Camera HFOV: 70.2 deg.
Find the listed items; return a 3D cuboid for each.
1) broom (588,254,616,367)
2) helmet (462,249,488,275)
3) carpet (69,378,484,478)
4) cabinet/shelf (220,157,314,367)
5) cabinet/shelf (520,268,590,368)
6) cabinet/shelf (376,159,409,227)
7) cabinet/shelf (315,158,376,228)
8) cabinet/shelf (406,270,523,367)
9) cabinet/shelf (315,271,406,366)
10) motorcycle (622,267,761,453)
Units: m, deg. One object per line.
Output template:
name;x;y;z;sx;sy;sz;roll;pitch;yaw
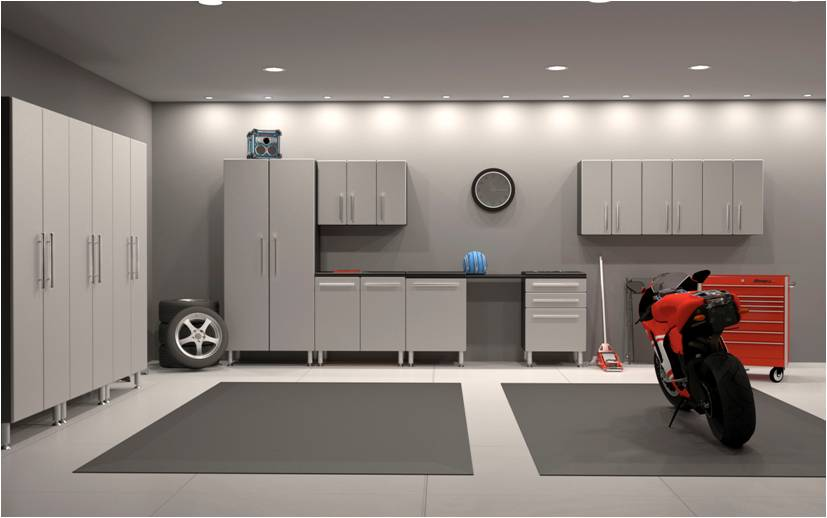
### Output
broom;2.805;0.764;8.427;0.394;1.497;0.854;3;12;17
helmet;0.887;0.047;8.572;0.372;0.329;0.332;1;-6;-1
carpet;-1.113;1.732;6.337;3.399;0.122;2.259;0;10;2
cabinet/shelf;-2.054;0.044;8.430;1.297;2.875;0.601;0;11;0
cabinet/shelf;1.986;0.813;8.692;0.919;1.250;0.873;0;0;-7
cabinet/shelf;-0.326;-0.963;8.479;0.425;0.882;0.211;-2;11;-7
cabinet/shelf;-0.980;-0.955;8.475;1.078;0.964;0.525;0;0;0
cabinet/shelf;0.747;0.855;8.538;1.511;1.029;0.527;0;-5;-2
cabinet/shelf;-0.649;0.780;8.906;1.923;1.592;1.126;0;-4;0
motorcycle;3.028;0.999;6.578;0.870;1.588;2.740;-8;-2;8
